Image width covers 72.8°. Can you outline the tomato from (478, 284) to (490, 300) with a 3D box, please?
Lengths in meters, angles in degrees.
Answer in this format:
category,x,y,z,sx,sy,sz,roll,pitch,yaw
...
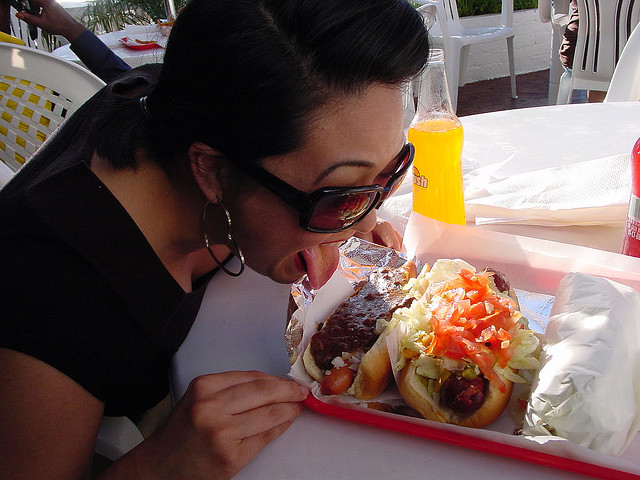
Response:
category,x,y,z,sx,sy,sz,roll,pitch,yaw
tomato,0.329,0.104,0.873,0.022,0.024,0.024,-28,66,-7

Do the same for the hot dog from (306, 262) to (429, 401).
category,x,y,z,sx,sy,sz,roll,pitch,yaw
hot dog,0.119,0.204,1.046,0.202,0.126,0.405,13,43,38

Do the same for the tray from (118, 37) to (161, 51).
category,x,y,z,sx,sy,sz,roll,pitch,yaw
tray,-1.674,-1.784,3.927,0.191,0.123,0.745,-20,29,-23

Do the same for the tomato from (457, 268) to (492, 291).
category,x,y,z,sx,sy,sz,roll,pitch,yaw
tomato,0.311,0.080,0.901,0.054,0.023,0.071,-16,27,-15

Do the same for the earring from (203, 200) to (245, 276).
category,x,y,z,sx,sy,sz,roll,pitch,yaw
earring,-0.204,-0.016,1.048,0.100,0.179,0.030,4,31,40

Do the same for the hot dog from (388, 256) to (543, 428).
category,x,y,z,sx,sy,sz,roll,pitch,yaw
hot dog,0.307,0.278,0.937,0.235,0.169,0.400,-4,4,23

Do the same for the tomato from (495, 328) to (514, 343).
category,x,y,z,sx,sy,sz,roll,pitch,yaw
tomato,0.349,0.185,0.824,0.026,0.026,0.033,16,35,40
